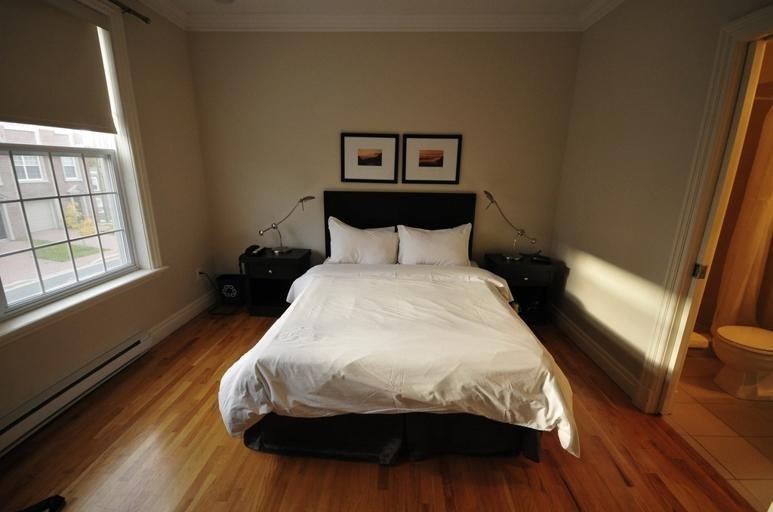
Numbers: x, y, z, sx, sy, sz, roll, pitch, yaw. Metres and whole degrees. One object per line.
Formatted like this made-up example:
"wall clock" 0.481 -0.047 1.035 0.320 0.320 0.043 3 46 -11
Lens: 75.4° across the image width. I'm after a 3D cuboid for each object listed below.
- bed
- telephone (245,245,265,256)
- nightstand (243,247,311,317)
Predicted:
"bed" 0.179 0.465 4.871 2.429 1.928 2.326 4 15 4
"telephone" -1.505 -0.062 5.680 0.112 0.052 0.221 -4 13 -1
"nightstand" -1.224 0.190 5.937 0.948 0.973 0.705 0 13 0
